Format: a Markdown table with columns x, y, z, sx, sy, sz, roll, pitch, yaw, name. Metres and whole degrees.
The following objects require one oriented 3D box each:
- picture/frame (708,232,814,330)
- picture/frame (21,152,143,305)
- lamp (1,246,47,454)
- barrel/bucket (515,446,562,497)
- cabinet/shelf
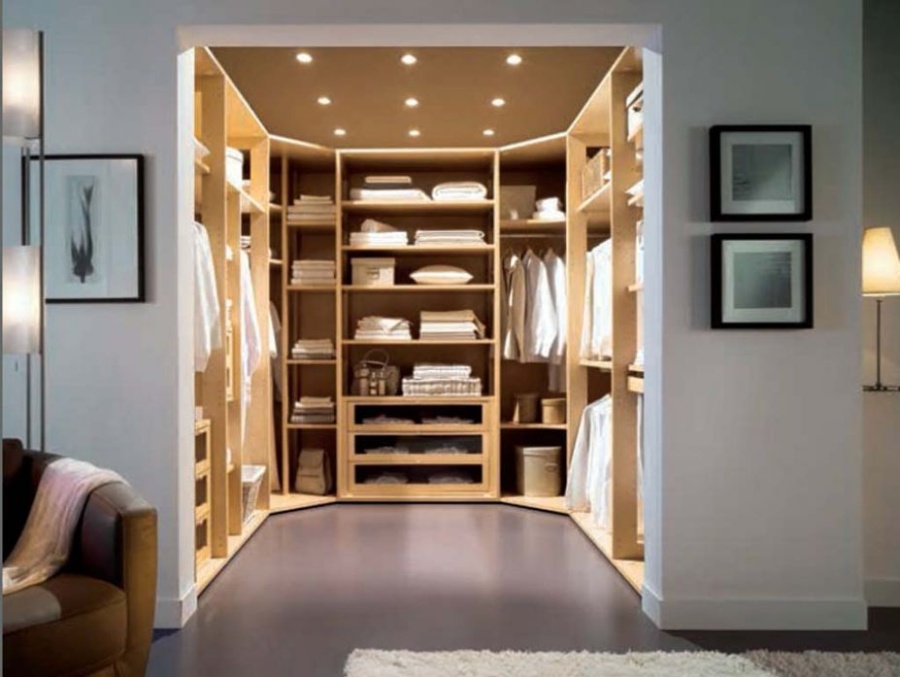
| x | y | z | sx | sy | sz | roll | pitch | yaw | name |
| --- | --- | --- | --- | --- | --- | --- | --- | --- | --- |
| 1.480 | -0.274 | 3.647 | 0.408 | 0.429 | 0.034 | 0 | -2 | 2 | picture/frame |
| -1.722 | -0.519 | 3.618 | 0.653 | 0.941 | 0.032 | -1 | -2 | -2 | picture/frame |
| -1.896 | 0.042 | 3.369 | 0.227 | 0.892 | 0.156 | 2 | 7 | 20 | lamp |
| 0.662 | 0.940 | 5.676 | 0.310 | 0.355 | 0.341 | -1 | -1 | 36 | barrel/bucket |
| -0.203 | -0.121 | 5.128 | 2.850 | 2.989 | 1.507 | 1 | 1 | 8 | cabinet/shelf |
